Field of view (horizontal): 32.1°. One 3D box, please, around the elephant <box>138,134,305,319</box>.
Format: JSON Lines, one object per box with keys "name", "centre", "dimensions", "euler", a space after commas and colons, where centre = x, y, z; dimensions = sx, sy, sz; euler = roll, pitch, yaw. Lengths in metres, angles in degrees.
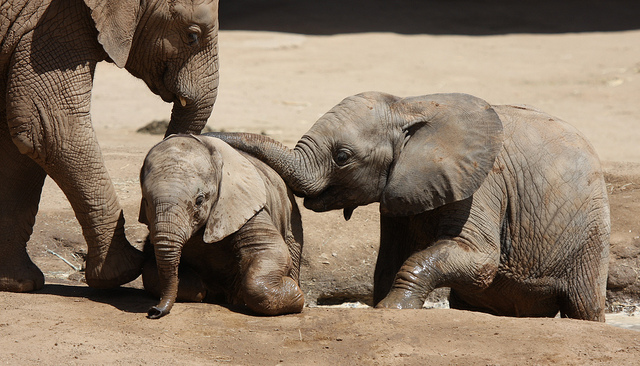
{"name": "elephant", "centre": [-1.205, 0.555, 13.620], "dimensions": [1.972, 1.983, 1.457], "euler": [-3, 30, -10]}
